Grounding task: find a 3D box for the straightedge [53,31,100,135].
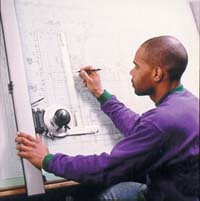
[{"bbox_3d":[-0.139,-0.099,1.600,0.280,0.023,0.533,-7,80,-25],"label":"straightedge"}]
